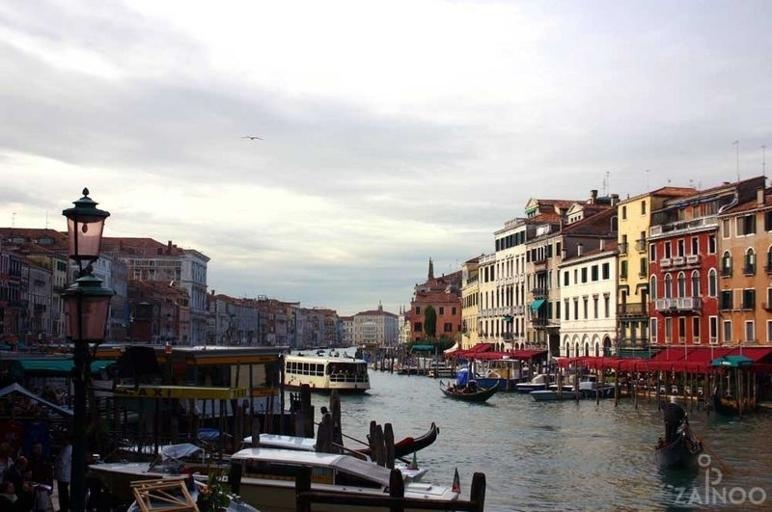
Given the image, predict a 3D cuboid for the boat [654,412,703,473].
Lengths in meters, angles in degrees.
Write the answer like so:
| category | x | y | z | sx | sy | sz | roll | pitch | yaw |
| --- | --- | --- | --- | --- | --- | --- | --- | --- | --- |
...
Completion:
| category | x | y | z | sx | sy | sz | roll | pitch | yaw |
| --- | --- | --- | --- | --- | --- | --- | --- | --- | --- |
| boat | 14.443 | 9.367 | 54.320 | 2.051 | 1.849 | 5.397 | -3 | -12 | 9 |
